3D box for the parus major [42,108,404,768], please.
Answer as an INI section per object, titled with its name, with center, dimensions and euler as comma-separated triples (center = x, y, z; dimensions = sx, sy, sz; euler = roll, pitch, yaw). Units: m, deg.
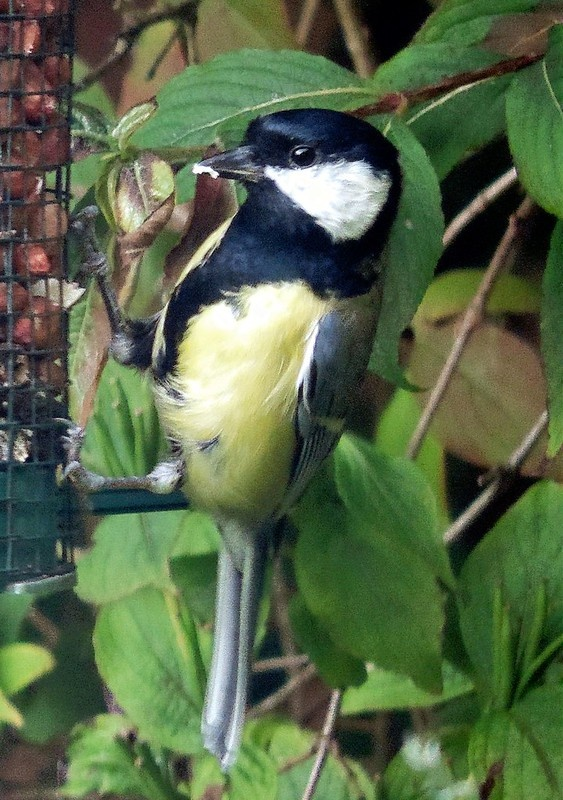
[parus major]
center = -0.070, 0.074, 1.419
dimensions = 0.344, 0.803, 0.159
euler = 2, 10, -15
